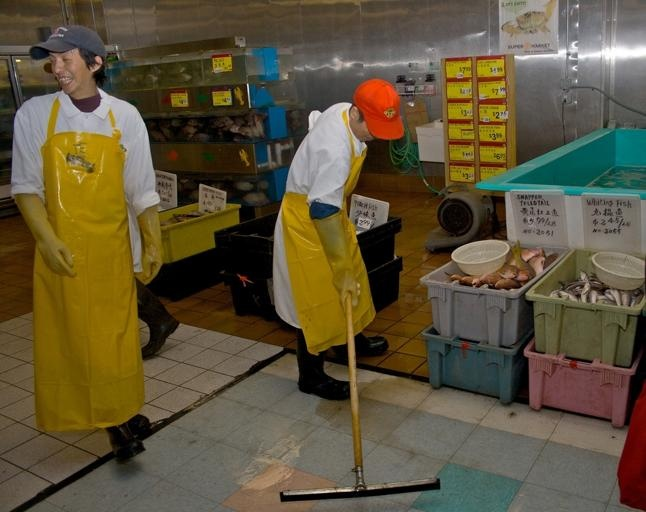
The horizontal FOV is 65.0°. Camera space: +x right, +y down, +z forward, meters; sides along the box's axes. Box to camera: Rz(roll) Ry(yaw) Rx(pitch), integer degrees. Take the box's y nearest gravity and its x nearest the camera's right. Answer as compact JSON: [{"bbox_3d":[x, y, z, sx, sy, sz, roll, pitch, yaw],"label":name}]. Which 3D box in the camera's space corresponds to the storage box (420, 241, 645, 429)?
[{"bbox_3d":[1.283,0.410,3.051,1.244,0.572,0.803,5,17,32],"label":"storage box"}]

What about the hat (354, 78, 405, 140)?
[{"bbox_3d":[0.280,-0.741,2.666,0.245,0.332,0.144,-19,-11,-26],"label":"hat"}]

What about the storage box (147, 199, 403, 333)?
[{"bbox_3d":[-0.214,-0.033,4.865,1.132,0.722,1.828,8,15,42],"label":"storage box"}]
